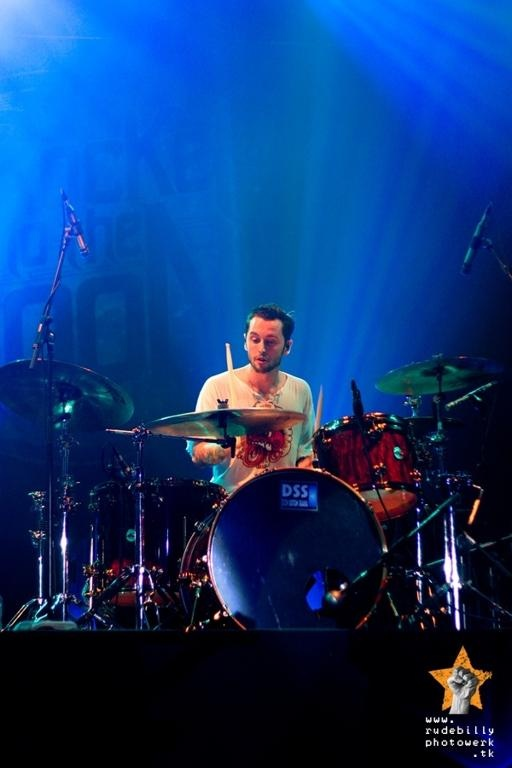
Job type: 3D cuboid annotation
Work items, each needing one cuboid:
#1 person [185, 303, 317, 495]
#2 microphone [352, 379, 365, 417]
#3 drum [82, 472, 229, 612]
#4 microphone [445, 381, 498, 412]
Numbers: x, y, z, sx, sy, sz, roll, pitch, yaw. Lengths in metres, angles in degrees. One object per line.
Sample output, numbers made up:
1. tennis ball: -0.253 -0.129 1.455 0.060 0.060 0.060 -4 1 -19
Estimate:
1. person: 0.036 0.143 4.940 0.785 1.230 0.740 0 12 -21
2. microphone: 0.510 0.073 4.019 0.061 0.051 0.234 9 -45 15
3. drum: -0.511 0.777 4.146 0.671 0.645 0.671 -3 -10 18
4. microphone: 1.210 0.066 4.515 0.337 0.062 0.066 -24 8 -37
